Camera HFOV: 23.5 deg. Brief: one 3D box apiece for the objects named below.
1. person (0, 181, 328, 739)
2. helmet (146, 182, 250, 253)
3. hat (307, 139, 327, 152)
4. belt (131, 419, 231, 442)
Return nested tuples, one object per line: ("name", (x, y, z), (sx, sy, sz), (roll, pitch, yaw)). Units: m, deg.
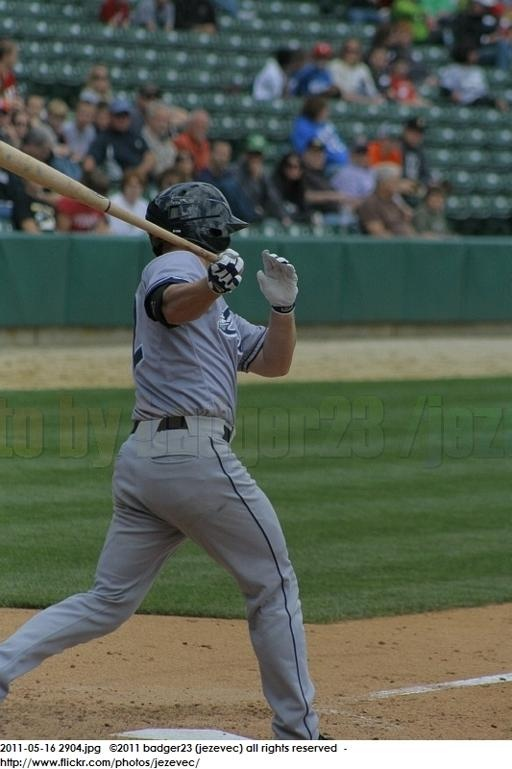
("person", (-0.179, 0.259, 3.576), (0.936, 1.665, 0.691), (6, 14, 3))
("helmet", (-0.180, -0.504, 3.681), (0.339, 0.213, 0.203), (5, 12, 0))
("hat", (0.605, -2.361, 12.119), (0.232, 0.118, 0.168), (0, 12, -20))
("belt", (-0.210, 0.124, 3.522), (0.289, 0.086, 0.130), (3, 12, -5))
